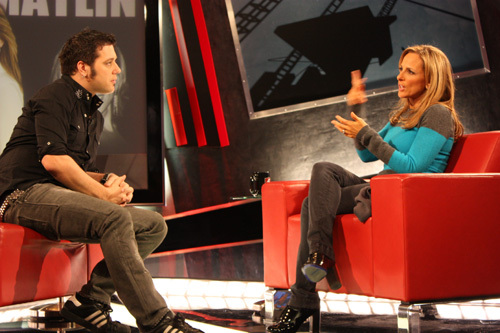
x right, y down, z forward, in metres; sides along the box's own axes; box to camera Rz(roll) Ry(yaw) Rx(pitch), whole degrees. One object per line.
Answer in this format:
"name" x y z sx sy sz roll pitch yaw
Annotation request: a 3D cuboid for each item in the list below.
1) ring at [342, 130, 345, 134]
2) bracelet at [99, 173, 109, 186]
"ring" 0.584 -0.210 2.901 0.026 0.025 0.008 3 19 6
"bracelet" -0.850 0.075 2.738 0.039 0.061 0.064 23 49 15
